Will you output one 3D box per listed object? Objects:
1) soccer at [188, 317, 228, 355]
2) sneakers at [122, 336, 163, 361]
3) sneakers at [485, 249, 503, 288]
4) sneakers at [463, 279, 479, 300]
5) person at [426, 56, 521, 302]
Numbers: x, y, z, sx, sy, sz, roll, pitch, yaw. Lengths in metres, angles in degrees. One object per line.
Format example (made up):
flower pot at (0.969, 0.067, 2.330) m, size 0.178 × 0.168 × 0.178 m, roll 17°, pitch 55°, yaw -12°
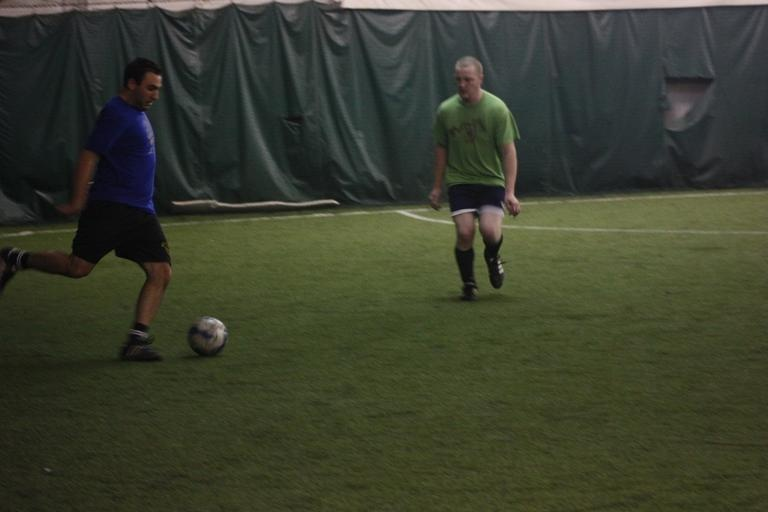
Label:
soccer at (-1.129, 0.512, 4.190) m, size 0.235 × 0.230 × 0.121 m, roll -2°, pitch 21°, yaw 2°
sneakers at (-1.535, 0.577, 4.108) m, size 0.261 × 0.158 × 0.132 m, roll -4°, pitch 21°, yaw -4°
sneakers at (0.966, 0.117, 5.708) m, size 0.144 × 0.348 × 0.159 m, roll -15°, pitch 18°, yaw 6°
sneakers at (0.719, 0.278, 5.509) m, size 0.119 × 0.157 × 0.142 m, roll 0°, pitch 21°, yaw 9°
person at (0.771, -0.620, 5.545) m, size 0.738 × 2.000 × 0.856 m, roll -3°, pitch 21°, yaw 3°
